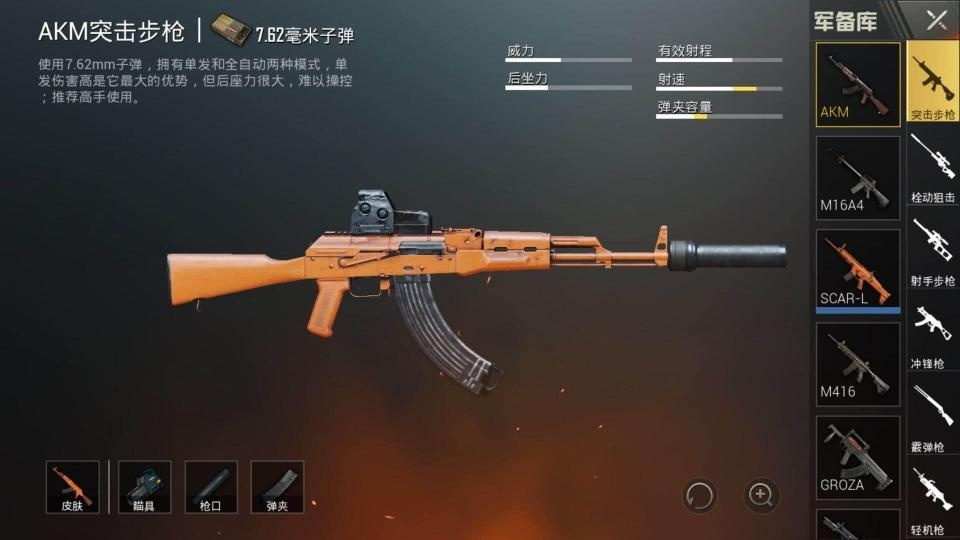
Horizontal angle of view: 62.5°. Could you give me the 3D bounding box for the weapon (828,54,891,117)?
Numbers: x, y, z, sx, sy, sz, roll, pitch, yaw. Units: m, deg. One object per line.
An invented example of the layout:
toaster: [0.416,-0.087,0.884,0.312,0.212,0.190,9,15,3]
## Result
weapon: [4.320,-2.120,9.210,0.987,0.328,0.082,41,-17,-3]

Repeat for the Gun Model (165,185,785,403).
Gun Model: [-0.466,0.258,9.051,6.285,2.381,0.268,-1,0,2]

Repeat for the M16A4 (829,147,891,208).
M16A4: [4.430,-1.060,9.206,0.639,0.622,0.026,-1,0,1]

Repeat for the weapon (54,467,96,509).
weapon: [-4.743,2.513,9.192,0.476,0.469,0.020,-1,0,6]
